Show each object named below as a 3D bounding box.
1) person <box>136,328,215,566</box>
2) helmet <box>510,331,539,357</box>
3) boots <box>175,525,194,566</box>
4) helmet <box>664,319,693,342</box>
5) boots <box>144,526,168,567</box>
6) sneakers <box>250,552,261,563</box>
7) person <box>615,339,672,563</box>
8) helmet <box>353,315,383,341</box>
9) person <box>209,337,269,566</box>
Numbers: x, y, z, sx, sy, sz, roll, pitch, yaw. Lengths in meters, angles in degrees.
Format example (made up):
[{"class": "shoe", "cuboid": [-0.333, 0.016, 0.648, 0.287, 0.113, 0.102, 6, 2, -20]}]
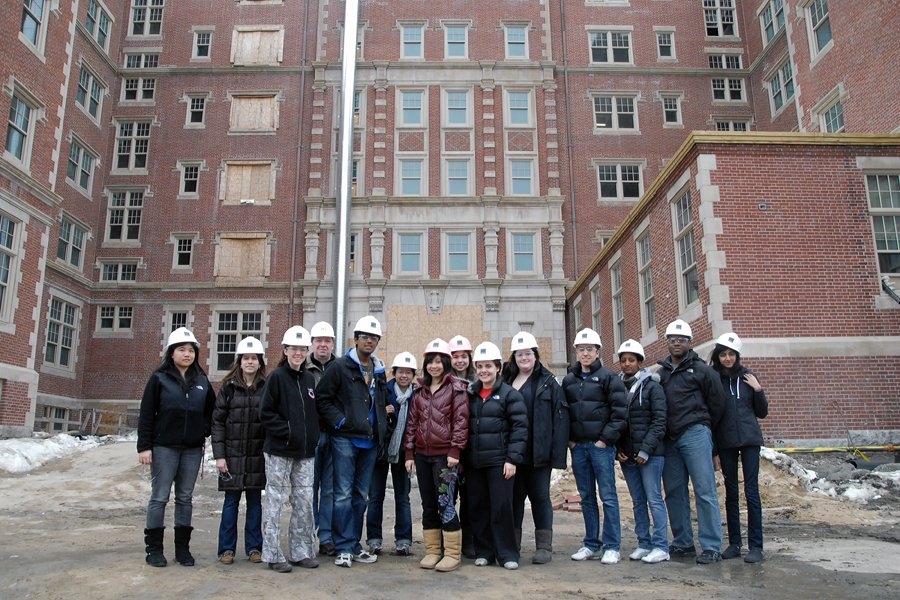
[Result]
[{"class": "person", "cuboid": [-4.224, 2.204, 10.697, 1.073, 3.548, 0.653, 5, -14, -24]}, {"class": "helmet", "cuboid": [1.218, 0.689, 11.591, 0.471, 0.380, 0.666, -5, -4, 8]}, {"class": "boots", "cuboid": [-4.079, 3.738, 10.674, 0.263, 0.534, 0.687, 5, -6, -37]}, {"class": "helmet", "cuboid": [3.851, 0.400, 11.703, 0.498, 0.361, 0.676, 1, -14, 19]}, {"class": "boots", "cuboid": [-4.415, 3.687, 10.473, 0.333, 0.560, 0.428, 5, -14, -22]}, {"class": "sneakers", "cuboid": [-3.021, 3.964, 10.805, 0.102, 0.091, 0.198, 10, -19, -37]}, {"class": "person", "cuboid": [3.102, 2.367, 11.246, 0.773, 3.484, 0.753, 0, -12, 0]}, {"class": "helmet", "cuboid": [-1.367, 0.384, 11.502, 0.430, 0.340, 0.597, 7, -14, -10]}, {"class": "person", "cuboid": [-3.238, 2.276, 10.932, 0.862, 3.511, 0.788, -3, -13, 13]}]
